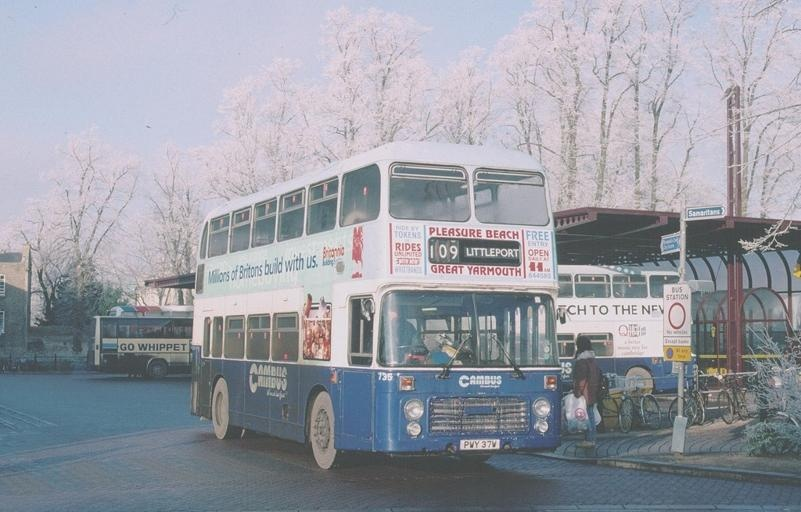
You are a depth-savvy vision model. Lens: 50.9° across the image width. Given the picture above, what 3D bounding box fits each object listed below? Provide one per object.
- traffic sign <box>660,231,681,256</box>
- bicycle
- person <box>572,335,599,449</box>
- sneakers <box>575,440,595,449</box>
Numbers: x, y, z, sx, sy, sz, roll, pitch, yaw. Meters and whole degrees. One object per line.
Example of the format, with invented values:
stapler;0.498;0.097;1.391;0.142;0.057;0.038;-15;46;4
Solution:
traffic sign;6.982;-0.399;22.110;0.149;0.643;0.896;9;-2;-30
bicycle;7.940;4.227;24.077;4.064;1.490;1.475;-1;-1;-34
person;4.547;3.298;20.904;0.638;2.646;0.983;-2;-1;17
sneakers;4.464;4.633;20.686;0.409;0.166;0.165;3;-3;0
